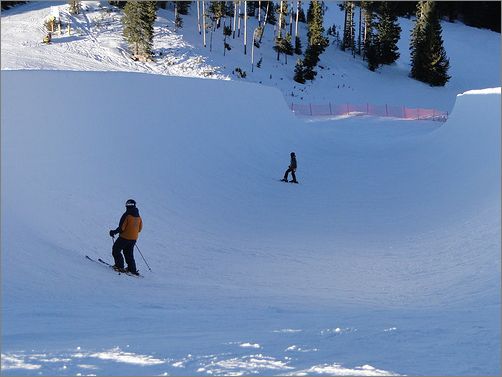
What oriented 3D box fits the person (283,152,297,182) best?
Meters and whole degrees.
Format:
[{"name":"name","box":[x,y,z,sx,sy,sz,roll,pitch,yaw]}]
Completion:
[{"name":"person","box":[1.567,-0.920,24.534,0.603,1.290,1.392,5,18,3]}]

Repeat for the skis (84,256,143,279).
[{"name":"skis","box":[-3.555,2.032,16.463,1.013,0.080,0.138,27,13,-16]}]

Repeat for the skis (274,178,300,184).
[{"name":"skis","box":[1.338,-0.312,24.446,0.722,0.118,0.061,14,-4,-28]}]

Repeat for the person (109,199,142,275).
[{"name":"person","box":[-3.195,1.239,16.456,0.744,1.864,0.659,0,19,-12]}]
